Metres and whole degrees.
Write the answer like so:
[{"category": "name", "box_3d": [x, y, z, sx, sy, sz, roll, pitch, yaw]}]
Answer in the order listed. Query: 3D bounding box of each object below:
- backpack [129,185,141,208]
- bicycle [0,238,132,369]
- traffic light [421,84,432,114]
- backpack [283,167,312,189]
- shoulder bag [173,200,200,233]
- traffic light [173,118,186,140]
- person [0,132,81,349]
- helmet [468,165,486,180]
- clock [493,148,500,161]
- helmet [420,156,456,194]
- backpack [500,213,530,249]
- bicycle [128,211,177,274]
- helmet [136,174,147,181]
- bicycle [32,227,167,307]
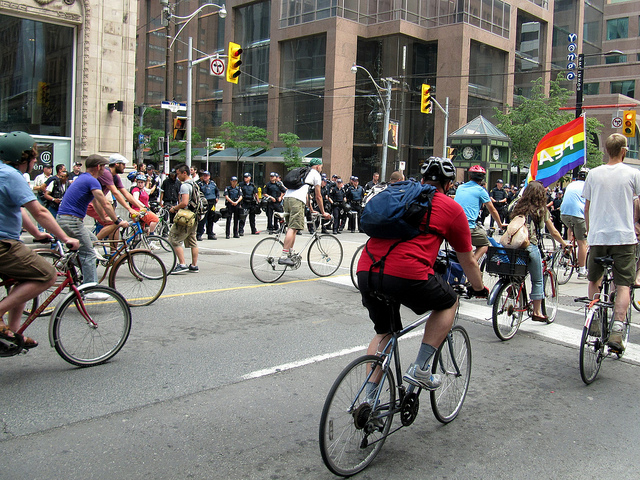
[{"category": "backpack", "box_3d": [-5.007, -1.248, 15.322, 0.251, 0.514, 0.831, -1, 10, -17]}, {"category": "bicycle", "box_3d": [-2.944, 0.814, 6.131, 1.782, 1.166, 0.822, 0, 0, -34]}, {"category": "traffic light", "box_3d": [5.274, -7.059, 27.949, 0.430, 1.354, 0.991, 7, 10, 28]}, {"category": "backpack", "box_3d": [-0.417, -1.192, 10.847, 0.526, 0.432, 0.338, 1, 9, -5]}, {"category": "shoulder bag", "box_3d": [-2.645, -0.508, 11.223, 0.376, 0.566, 0.673, 16, 17, -1]}, {"category": "traffic light", "box_3d": [-5.407, -4.277, 21.619, 0.266, 0.786, 0.746, 3, 9, 5]}, {"category": "person", "box_3d": [-2.888, 0.031, 5.631, 0.623, 2.183, 0.720, -2, 10, -25]}, {"category": "helmet", "box_3d": [2.332, -1.005, 8.348, 0.219, 0.191, 0.435, 5, 9, 16]}, {"category": "clock", "box_3d": [12.945, -6.348, 41.409, 0.100, 0.804, 0.771, -4, 11, 37]}, {"category": "helmet", "box_3d": [0.995, -0.579, 4.716, 0.229, 0.273, 0.282, 3, 9, 17]}, {"category": "backpack", "box_3d": [2.607, -0.123, 7.495, 0.379, 0.461, 0.360, 5, 10, 20]}, {"category": "bicycle", "box_3d": [-3.218, 0.061, 10.138, 1.258, 0.833, 0.642, 6, 8, -4]}, {"category": "helmet", "box_3d": [-4.976, -1.736, 15.630, 0.345, 0.167, 0.500, 5, 10, -18]}, {"category": "bicycle", "box_3d": [-3.256, 0.420, 8.473, 1.873, 1.231, 0.955, 3, 1, -6]}]
